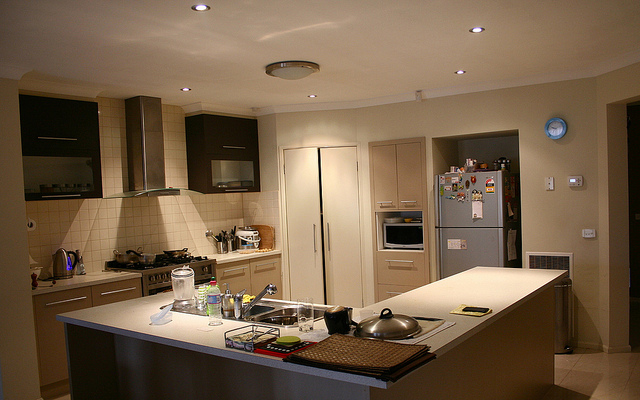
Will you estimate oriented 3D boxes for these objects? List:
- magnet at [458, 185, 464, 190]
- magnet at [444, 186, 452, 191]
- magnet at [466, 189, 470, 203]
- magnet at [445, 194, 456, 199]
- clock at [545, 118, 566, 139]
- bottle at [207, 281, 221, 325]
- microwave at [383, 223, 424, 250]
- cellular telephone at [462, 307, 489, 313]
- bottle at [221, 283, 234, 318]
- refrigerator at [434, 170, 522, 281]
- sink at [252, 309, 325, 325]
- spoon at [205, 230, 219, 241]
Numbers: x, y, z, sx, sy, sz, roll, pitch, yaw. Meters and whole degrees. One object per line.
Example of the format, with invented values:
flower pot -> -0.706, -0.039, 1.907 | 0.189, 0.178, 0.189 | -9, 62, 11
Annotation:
magnet -> 1.954, -0.190, 6.225 | 0.054, 0.062, 0.024 | 5, -6, 31
magnet -> 1.798, -0.165, 6.307 | 0.092, 0.058, 0.051 | -3, -6, 36
magnet -> 2.031, -0.066, 6.181 | 0.047, 0.179, 0.030 | 2, 9, 30
magnet -> 1.836, -0.057, 6.328 | 0.129, 0.058, 0.040 | -2, 3, 36
clock -> 3.061, -0.935, 5.914 | 0.245, 0.232, 0.242 | -14, 0, 23
bottle -> -0.930, 0.891, 3.960 | 0.120, 0.302, 0.316 | -5, 8, -15
microwave -> 1.312, 0.548, 6.913 | 0.716, 0.419, 0.395 | -2, -7, 0
cellular telephone -> 1.349, 0.945, 3.905 | 0.203, 0.018, 0.090 | 1, 8, 24
bottle -> -0.851, 0.914, 4.154 | 0.109, 0.254, 0.230 | -4, 8, -13
refrigerator -> 2.202, 0.339, 6.273 | 1.162, 1.516, 0.579 | 0, 8, 17
sink -> -0.272, 1.058, 4.081 | 0.256, 0.111, 0.334 | 0, -1, 38
spoon -> -1.671, 0.531, 6.983 | 0.197, 0.162, 0.138 | -2, 8, 6
